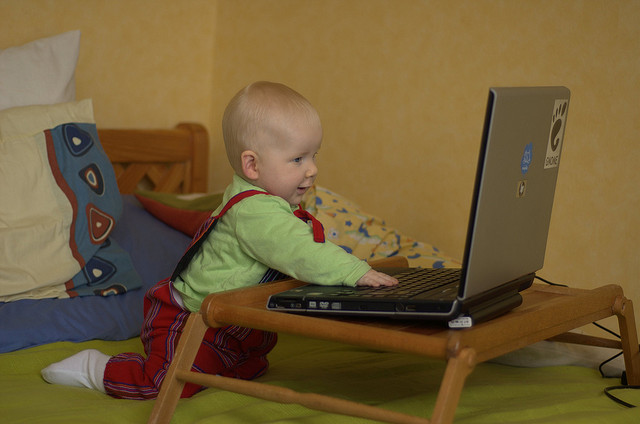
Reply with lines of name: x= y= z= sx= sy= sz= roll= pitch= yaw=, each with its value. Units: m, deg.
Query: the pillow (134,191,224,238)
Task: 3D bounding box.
pillow: x=-0.473 y=-0.055 z=2.094 sx=0.306 sy=0.185 sz=0.297 roll=12 pitch=19 yaw=39

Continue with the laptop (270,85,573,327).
laptop: x=0.256 y=-0.026 z=1.367 sx=0.593 sy=0.468 sz=0.659 roll=1 pitch=4 yaw=22
